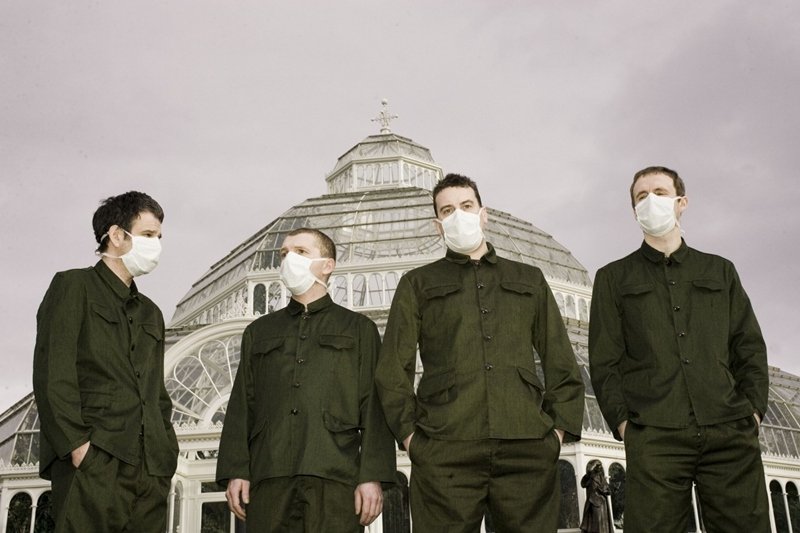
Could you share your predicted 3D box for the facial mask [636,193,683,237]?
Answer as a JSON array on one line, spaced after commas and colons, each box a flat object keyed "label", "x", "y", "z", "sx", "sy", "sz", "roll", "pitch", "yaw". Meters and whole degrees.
[{"label": "facial mask", "x": 4.160, "y": -0.837, "z": 15.548, "sx": 0.544, "sy": 0.633, "sz": 0.665, "roll": -1, "pitch": -4, "yaw": 26}]

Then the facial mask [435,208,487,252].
[{"label": "facial mask", "x": 0.984, "y": -0.568, "z": 15.059, "sx": 0.545, "sy": 0.652, "sz": 0.669, "roll": -9, "pitch": 4, "yaw": 7}]

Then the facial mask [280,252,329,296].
[{"label": "facial mask", "x": -1.580, "y": 0.107, "z": 15.615, "sx": 0.415, "sy": 0.848, "sz": 0.569, "roll": -3, "pitch": 1, "yaw": -40}]
